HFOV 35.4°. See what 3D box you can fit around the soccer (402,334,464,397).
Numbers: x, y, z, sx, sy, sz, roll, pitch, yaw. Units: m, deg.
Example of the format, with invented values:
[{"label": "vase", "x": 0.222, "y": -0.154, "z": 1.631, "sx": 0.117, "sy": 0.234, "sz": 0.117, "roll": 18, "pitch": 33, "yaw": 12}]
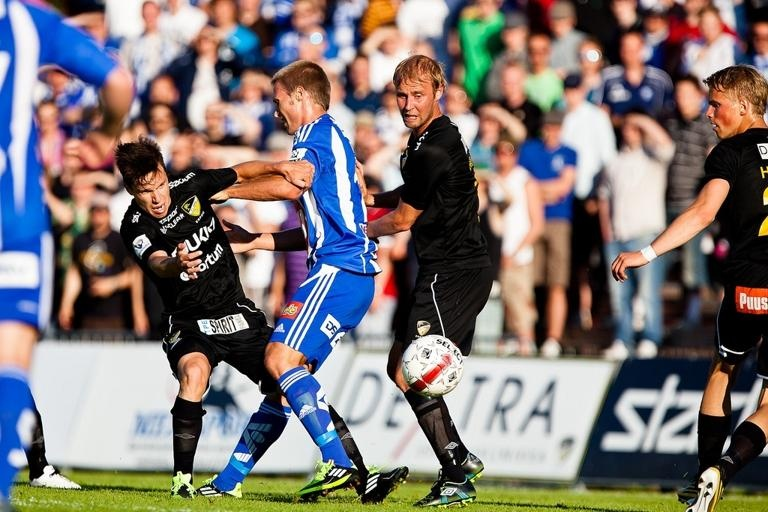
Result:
[{"label": "soccer", "x": 0.469, "y": 1.094, "z": 11.915, "sx": 0.605, "sy": 0.511, "sz": 0.631, "roll": -15, "pitch": -54, "yaw": 39}]
